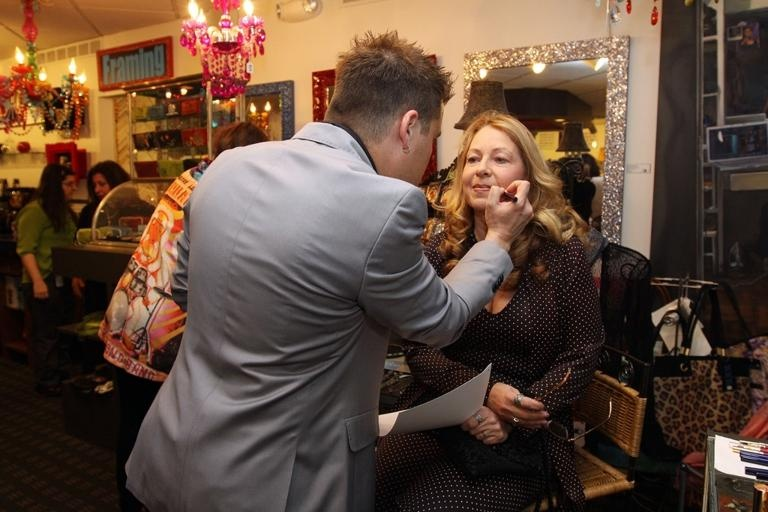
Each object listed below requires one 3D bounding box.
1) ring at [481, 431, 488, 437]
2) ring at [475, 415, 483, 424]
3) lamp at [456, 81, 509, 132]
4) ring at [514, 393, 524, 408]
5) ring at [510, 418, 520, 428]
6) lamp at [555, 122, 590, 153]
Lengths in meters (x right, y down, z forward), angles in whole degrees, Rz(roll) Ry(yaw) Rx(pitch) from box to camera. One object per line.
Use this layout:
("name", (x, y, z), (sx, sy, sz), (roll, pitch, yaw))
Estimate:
("ring", (0.389, 0.700, 2.182), (0.024, 0.026, 0.010), (-23, 9, 0))
("ring", (0.372, 0.638, 2.176), (0.027, 0.029, 0.007), (-5, 15, -19))
("lamp", (0.650, -1.036, 3.693), (0.400, 0.285, 0.413), (2, 5, 19))
("ring", (0.523, 0.564, 2.176), (0.040, 0.042, 0.035), (0, -8, -10))
("ring", (0.513, 0.654, 2.188), (0.029, 0.054, 0.029), (12, 1, 0))
("lamp", (1.323, -0.829, 3.923), (0.204, 0.157, 0.208), (-3, 6, -18))
